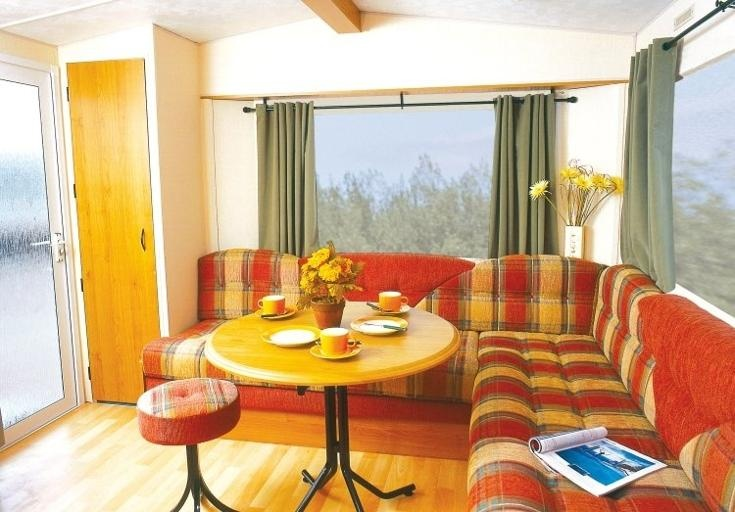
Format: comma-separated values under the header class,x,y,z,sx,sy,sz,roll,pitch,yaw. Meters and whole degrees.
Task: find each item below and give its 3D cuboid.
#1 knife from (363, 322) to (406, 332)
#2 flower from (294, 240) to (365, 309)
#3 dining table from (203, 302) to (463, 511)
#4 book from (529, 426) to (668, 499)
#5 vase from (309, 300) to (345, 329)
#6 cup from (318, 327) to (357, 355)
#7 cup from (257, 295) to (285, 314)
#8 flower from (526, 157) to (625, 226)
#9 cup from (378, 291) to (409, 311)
class,x,y,z,sx,sy,sz,roll,pitch,yaw
knife,0.099,0.388,2.870,0.243,0.020,0.073,2,6,37
flower,-0.197,0.128,2.947,0.361,0.325,0.365,7,22,23
dining table,-0.206,0.782,2.794,1.155,0.839,1.170,8,13,40
book,1.047,0.903,2.349,0.513,0.171,0.312,-8,11,-18
vase,-0.218,0.303,2.827,0.155,0.120,0.157,2,3,30
cup,-0.160,0.418,2.579,0.138,0.094,0.108,6,9,43
cup,-0.584,0.294,3.117,0.138,0.099,0.107,-1,8,-4
flower,1.564,-0.468,3.924,0.638,0.500,0.363,-1,11,18
cup,0.153,0.276,3.165,0.141,0.093,0.107,4,7,28
